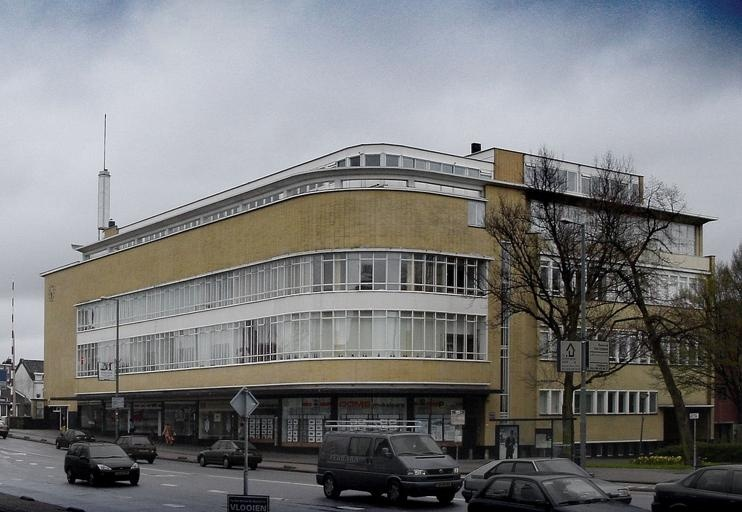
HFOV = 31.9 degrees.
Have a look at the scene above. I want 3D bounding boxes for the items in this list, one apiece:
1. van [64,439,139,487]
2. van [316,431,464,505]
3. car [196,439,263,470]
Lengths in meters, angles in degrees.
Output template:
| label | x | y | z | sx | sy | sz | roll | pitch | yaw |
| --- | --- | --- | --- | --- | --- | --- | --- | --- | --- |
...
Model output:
| label | x | y | z | sx | sy | sz | roll | pitch | yaw |
| --- | --- | --- | --- | --- | --- | --- | --- | --- | --- |
| van | -17.727 | 14.014 | 87.667 | 3.993 | 3.078 | 4.497 | 4 | -13 | -25 |
| van | 0.978 | 12.833 | 79.281 | 8.374 | 4.260 | 2.525 | 0 | 0 | 29 |
| car | -10.642 | 15.172 | 99.143 | 5.292 | 2.099 | 1.768 | 0 | 0 | 39 |
